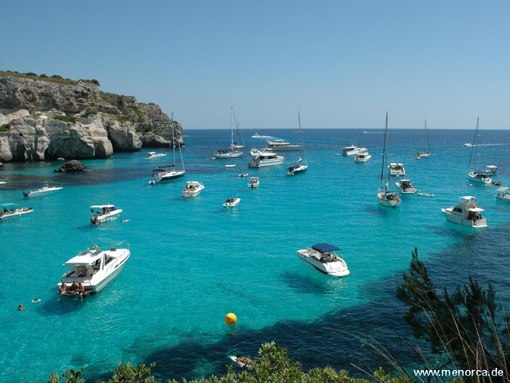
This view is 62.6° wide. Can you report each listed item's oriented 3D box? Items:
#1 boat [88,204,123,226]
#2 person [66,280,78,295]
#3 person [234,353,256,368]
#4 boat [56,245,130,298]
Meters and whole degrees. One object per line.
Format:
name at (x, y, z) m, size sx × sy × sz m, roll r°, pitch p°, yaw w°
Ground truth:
boat at (-20.356, 2.867, 56.925) m, size 1.472 × 2.177 × 4.777 m, roll 0°, pitch 13°, yaw 22°
person at (-15.845, 8.400, 36.480) m, size 0.907 × 0.944 × 0.687 m, roll -7°, pitch 14°, yaw -8°
person at (-0.764, 11.914, 29.404) m, size 1.851 × 0.419 × 1.128 m, roll 7°, pitch 13°, yaw -2°
boat at (-14.863, 7.145, 38.975) m, size 3.287 × 2.582 × 6.583 m, roll 6°, pitch 17°, yaw 17°
